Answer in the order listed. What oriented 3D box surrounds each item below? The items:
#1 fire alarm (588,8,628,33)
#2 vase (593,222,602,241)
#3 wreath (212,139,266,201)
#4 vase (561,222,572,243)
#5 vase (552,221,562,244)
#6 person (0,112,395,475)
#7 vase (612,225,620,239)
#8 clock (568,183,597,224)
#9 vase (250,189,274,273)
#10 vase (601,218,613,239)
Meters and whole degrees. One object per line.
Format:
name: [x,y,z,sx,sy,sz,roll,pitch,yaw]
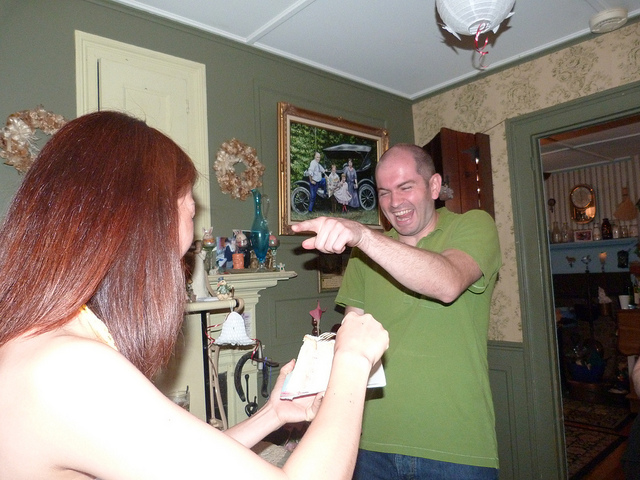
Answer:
fire alarm: [1.718,-1.312,2.918,0.186,0.101,0.264,0,1,36]
vase: [3.847,-0.136,6.798,0.104,0.232,0.256,-1,1,29]
wreath: [-0.511,-0.445,3.108,0.348,0.325,0.059,-1,1,-40]
vase: [3.590,-0.125,7.123,0.129,0.280,0.221,-1,1,27]
vase: [3.488,-0.123,7.207,0.124,0.328,0.292,-1,1,25]
person: [-0.410,0.173,1.538,0.952,1.225,0.890,-2,4,-35]
vase: [3.964,-0.122,6.563,0.080,0.174,0.094,-1,1,30]
clock: [3.769,-0.532,7.028,0.098,0.567,0.370,-1,1,-30]
vase: [-0.363,-0.065,3.098,0.133,0.426,0.166,-1,1,-21]
vase: [3.903,-0.163,6.678,0.099,0.271,0.188,-1,1,-1]
